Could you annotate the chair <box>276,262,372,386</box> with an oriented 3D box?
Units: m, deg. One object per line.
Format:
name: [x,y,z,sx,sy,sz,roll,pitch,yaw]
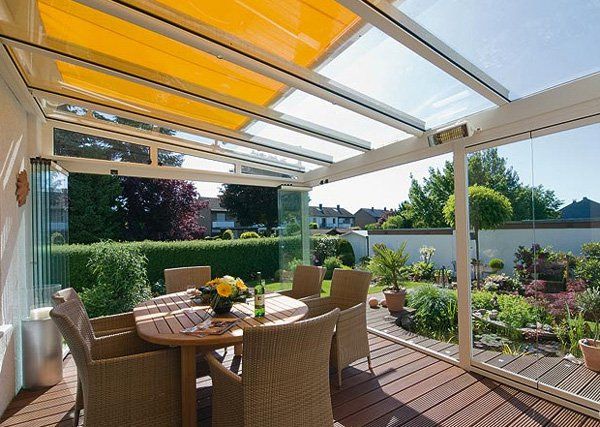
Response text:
chair: [0.089,1.397,5.032,1.188,1.588,1.147,-10,-15,42]

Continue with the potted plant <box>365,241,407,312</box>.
potted plant: [1.779,1.258,7.318,0.696,1.150,0.775,0,-7,32]
